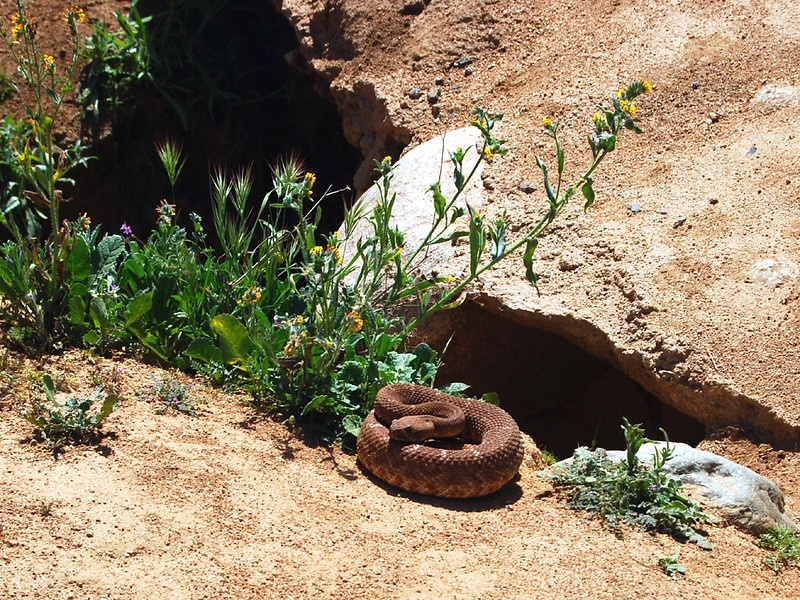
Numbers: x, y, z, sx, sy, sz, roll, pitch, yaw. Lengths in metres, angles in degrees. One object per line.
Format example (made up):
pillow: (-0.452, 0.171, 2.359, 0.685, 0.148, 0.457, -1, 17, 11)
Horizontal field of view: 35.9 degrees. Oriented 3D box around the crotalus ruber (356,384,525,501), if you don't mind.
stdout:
crotalus ruber: (0.302, 1.110, 9.624, 1.270, 0.583, 0.773, 7, 18, 5)
